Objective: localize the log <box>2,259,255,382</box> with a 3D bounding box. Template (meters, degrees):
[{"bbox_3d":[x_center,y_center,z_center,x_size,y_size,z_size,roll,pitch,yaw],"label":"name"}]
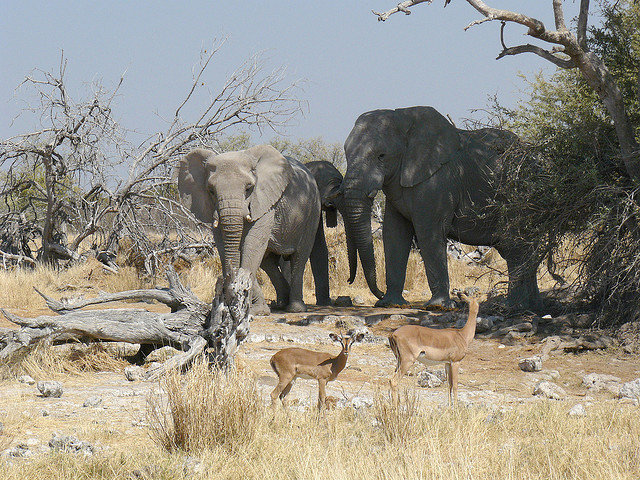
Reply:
[{"bbox_3d":[-2.872,1.184,10.916,2.813,0.840,1.881,9,13,39],"label":"log"}]

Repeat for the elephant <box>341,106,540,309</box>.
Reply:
[{"bbox_3d":[2.363,-1.042,15.536,3.188,4.546,2.638,-4,4,28],"label":"elephant"}]

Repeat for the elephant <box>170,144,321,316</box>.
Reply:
[{"bbox_3d":[-1.181,-0.010,13.956,1.698,3.209,3.686,-1,-1,18],"label":"elephant"}]
